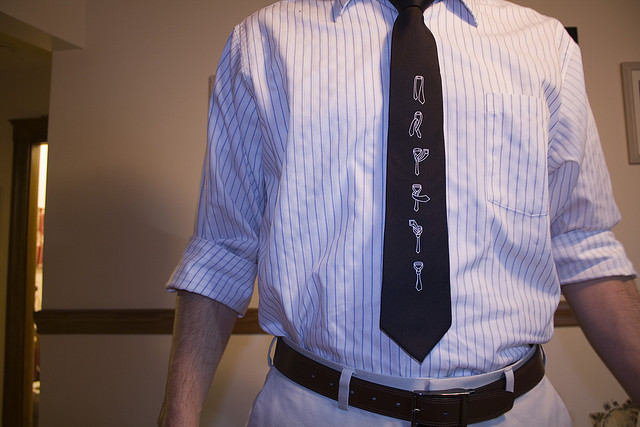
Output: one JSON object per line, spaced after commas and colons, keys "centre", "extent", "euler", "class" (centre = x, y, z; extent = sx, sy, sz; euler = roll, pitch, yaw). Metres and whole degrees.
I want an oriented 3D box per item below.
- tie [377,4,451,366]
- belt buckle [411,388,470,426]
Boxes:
{"centre": [0.291, -0.116, 1.859], "extent": [0.209, 1.132, 0.075], "euler": [0, -3, 8], "class": "tie"}
{"centre": [0.373, 0.567, 1.837], "extent": [0.130, 0.141, 0.123], "euler": [3, -4, 0], "class": "belt buckle"}
